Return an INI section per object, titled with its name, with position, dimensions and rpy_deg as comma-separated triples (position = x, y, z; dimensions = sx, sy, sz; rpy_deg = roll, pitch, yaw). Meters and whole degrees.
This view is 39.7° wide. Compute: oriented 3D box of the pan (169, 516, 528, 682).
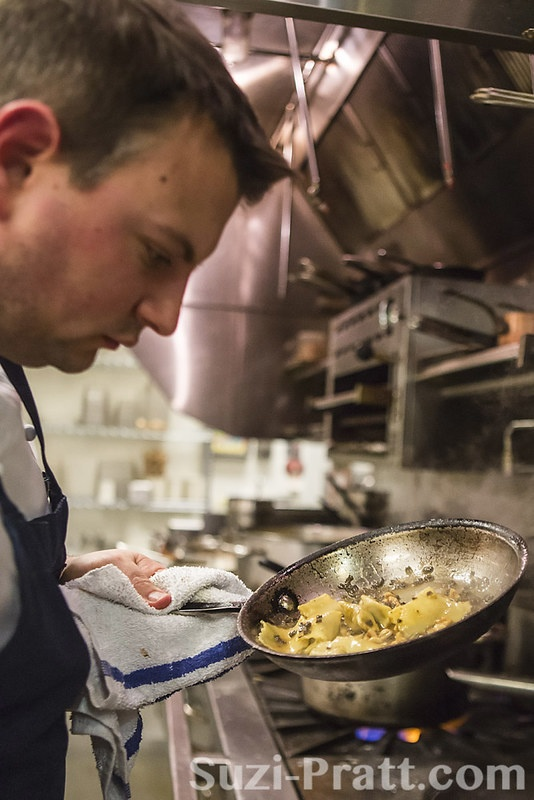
[pan]
position = 0.105, 0.213, 0.898
dimensions = 0.362, 0.048, 0.220
rpy_deg = -15, 9, 0

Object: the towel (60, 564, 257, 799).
[towel]
position = -0.140, 0.275, 0.914
dimensions = 0.258, 0.127, 0.306
rpy_deg = -6, 29, -19

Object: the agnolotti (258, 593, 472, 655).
[agnolotti]
position = 0.111, 0.254, 0.846
dimensions = 0.240, 0.064, 0.122
rpy_deg = -9, 1, 10
